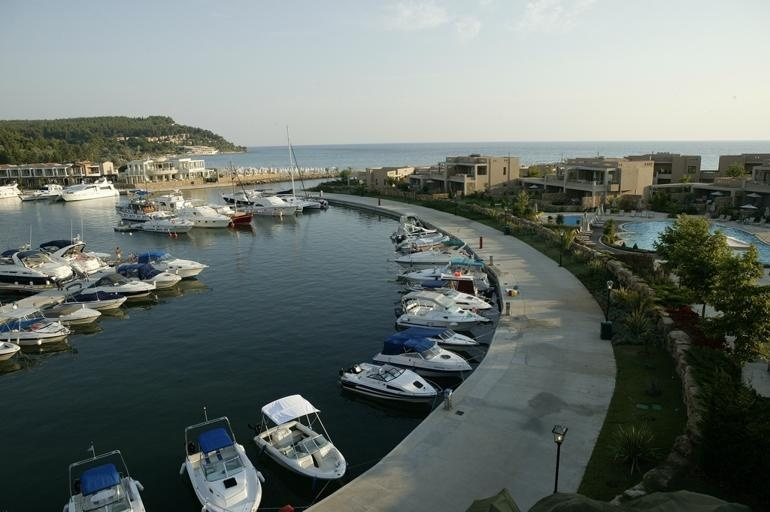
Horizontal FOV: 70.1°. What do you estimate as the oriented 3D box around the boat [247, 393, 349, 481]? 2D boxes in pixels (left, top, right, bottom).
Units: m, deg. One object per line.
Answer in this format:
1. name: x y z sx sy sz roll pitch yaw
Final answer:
1. boat: -4.673 9.724 29.347 5.841 1.974 3.561 21 28 36
